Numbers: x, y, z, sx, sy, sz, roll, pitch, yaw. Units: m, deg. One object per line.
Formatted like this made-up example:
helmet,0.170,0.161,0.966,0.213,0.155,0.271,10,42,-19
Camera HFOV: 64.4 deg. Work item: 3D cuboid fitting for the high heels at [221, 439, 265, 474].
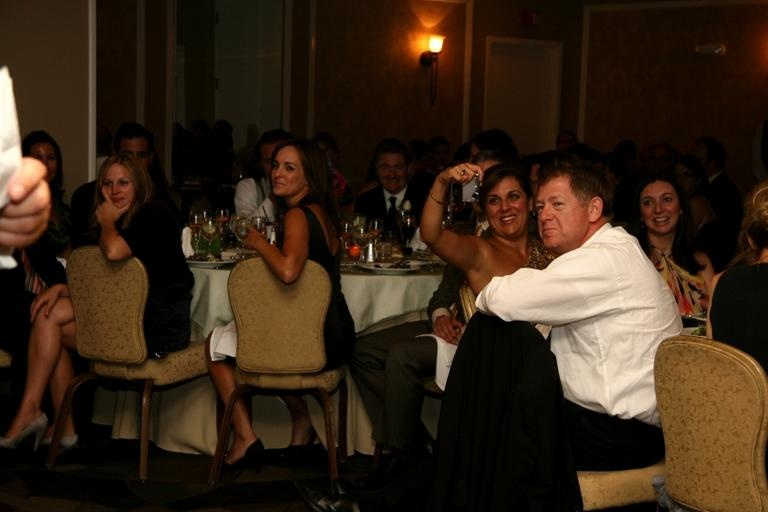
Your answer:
high heels,-0.769,1.067,3.250,0.317,0.163,0.111,-2,-3,30

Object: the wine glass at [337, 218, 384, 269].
wine glass,-0.166,-0.071,3.997,0.297,0.347,0.302,0,-2,-6

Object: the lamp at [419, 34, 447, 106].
lamp,0.653,-2.583,8.464,0.366,0.926,0.125,1,9,-9
